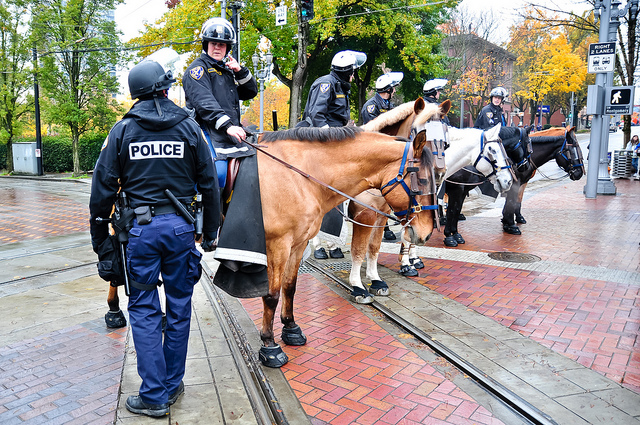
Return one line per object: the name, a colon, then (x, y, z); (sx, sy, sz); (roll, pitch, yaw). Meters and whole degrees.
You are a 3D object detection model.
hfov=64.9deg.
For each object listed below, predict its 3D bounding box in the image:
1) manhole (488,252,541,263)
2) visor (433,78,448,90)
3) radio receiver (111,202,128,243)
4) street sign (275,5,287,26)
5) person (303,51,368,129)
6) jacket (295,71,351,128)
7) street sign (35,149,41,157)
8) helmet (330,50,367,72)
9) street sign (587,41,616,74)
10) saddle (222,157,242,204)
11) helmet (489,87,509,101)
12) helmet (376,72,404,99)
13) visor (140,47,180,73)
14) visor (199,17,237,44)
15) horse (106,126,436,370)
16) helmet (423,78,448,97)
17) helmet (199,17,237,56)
manhole: (4.016, 0.916, 10.451); (0.970, 0.080, 0.710); (2, 6, 10)
visor: (2.591, -2.787, 10.946); (0.174, 0.291, 0.742); (4, 7, 22)
radio receiver: (-2.326, 0.127, 5.867); (0.154, 0.509, 0.188); (-8, 0, -41)
street sign: (-1.507, -7.872, 20.038); (0.253, 0.672, 0.511); (-3, 8, -31)
person: (0.280, -2.077, 8.490); (0.902, 1.280, 0.813); (-1, 7, -13)
jacket: (0.081, -1.972, 8.897); (1.090, 1.109, 1.223); (8, 17, 9)
street sign: (-16.752, -3.607, 30.106); (0.618, 0.525, 0.067); (5, 15, 33)
helmet: (0.540, -2.577, 8.415); (0.412, 0.185, 0.539); (20, 41, 29)
street sign: (9.029, -5.011, 16.233); (0.738, 0.955, 0.454); (4, 7, 23)
saddle: (-1.121, -0.464, 6.431); (0.181, 0.432, 0.350); (11, -8, -35)
helmet: (4.309, -2.891, 12.132); (0.329, 0.368, 0.341); (1, 17, 7)
helmet: (1.235, -2.323, 9.171); (0.461, 0.368, 0.348); (-29, 30, -2)
visor: (-1.837, -1.777, 5.985); (0.401, 0.277, 0.281); (-24, 23, -22)
visor: (-1.344, -2.434, 6.703); (0.459, 0.213, 0.584); (4, 27, -10)
horse: (-1.077, 0.384, 7.254); (5.296, 3.066, 1.205); (2, 2, 11)
helmet: (2.541, -2.709, 10.826); (0.491, 0.242, 0.363); (-36, 30, -19)
helmet: (-1.359, -2.314, 6.743); (0.522, 0.457, 0.555); (1, 21, -17)
